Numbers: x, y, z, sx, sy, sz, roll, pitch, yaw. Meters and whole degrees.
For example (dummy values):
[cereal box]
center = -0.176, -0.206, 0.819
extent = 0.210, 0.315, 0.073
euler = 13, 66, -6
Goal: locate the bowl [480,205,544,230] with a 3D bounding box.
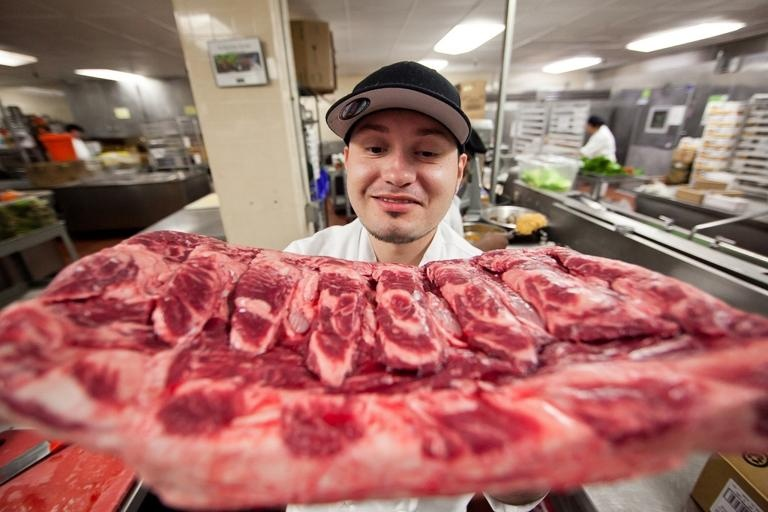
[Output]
[bowl]
center = 0.995, -0.350, 3.554
extent = 0.275, 0.097, 0.253
euler = 4, 21, -1
